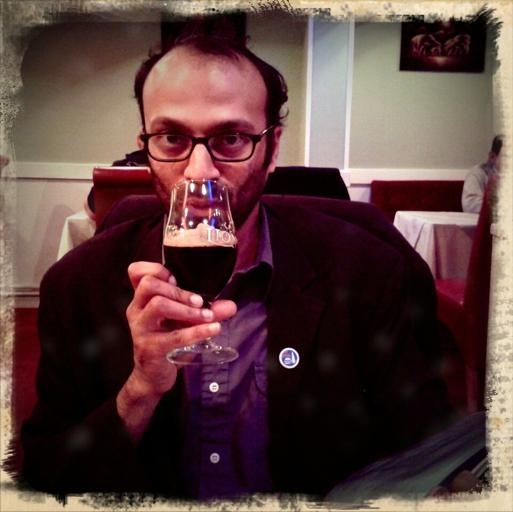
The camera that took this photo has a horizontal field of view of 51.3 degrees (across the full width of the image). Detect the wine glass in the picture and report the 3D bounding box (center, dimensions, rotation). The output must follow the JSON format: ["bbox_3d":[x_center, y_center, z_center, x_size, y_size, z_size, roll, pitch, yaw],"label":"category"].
[{"bbox_3d":[-0.138,0.079,1.334,0.177,0.536,0.275,-2,12,-7],"label":"wine glass"}]
